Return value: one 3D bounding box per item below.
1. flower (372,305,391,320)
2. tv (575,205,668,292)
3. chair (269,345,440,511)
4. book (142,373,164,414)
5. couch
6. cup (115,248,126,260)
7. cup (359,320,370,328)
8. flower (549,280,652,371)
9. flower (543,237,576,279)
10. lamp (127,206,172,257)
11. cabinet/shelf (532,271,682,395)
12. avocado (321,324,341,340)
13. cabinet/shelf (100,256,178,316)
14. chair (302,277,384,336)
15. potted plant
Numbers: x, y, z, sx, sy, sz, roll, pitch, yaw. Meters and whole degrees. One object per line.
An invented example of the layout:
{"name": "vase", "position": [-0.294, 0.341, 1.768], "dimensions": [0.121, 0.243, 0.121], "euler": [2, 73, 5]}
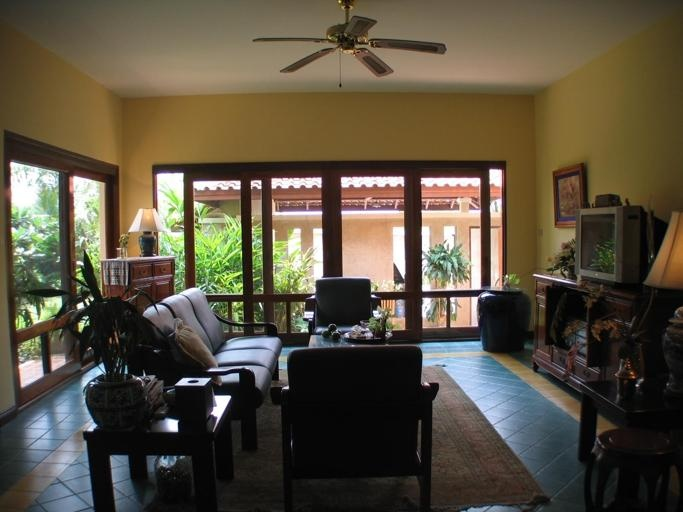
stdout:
{"name": "flower", "position": [0.448, 0.604, 5.512], "dimensions": [0.189, 0.133, 0.190], "euler": [0, 2, -21]}
{"name": "tv", "position": [2.647, -0.093, 5.107], "dimensions": [0.440, 0.705, 0.818], "euler": [0, 3, -8]}
{"name": "chair", "position": [0.126, 1.075, 3.887], "dimensions": [0.923, 1.032, 1.201], "euler": [-1, 3, 0]}
{"name": "book", "position": [-1.311, 0.963, 3.743], "dimensions": [0.172, 0.218, 0.083], "euler": [-3, -18, -40]}
{"name": "couch", "position": [-1.136, 0.966, 5.038], "dimensions": [1.015, 1.040, 2.181], "euler": [2, 2, -1]}
{"name": "cup", "position": [-2.729, -0.022, 6.600], "dimensions": [0.135, 0.137, 0.096], "euler": [-1, -4, 5]}
{"name": "cup", "position": [0.250, 0.730, 5.602], "dimensions": [0.093, 0.071, 0.089], "euler": [1, 3, 0]}
{"name": "flower", "position": [2.337, 0.621, 4.741], "dimensions": [0.339, 0.642, 0.997], "euler": [2, 0, 3]}
{"name": "flower", "position": [2.554, -0.020, 5.964], "dimensions": [0.440, 0.462, 0.454], "euler": [-2, 8, 6]}
{"name": "lamp", "position": [-2.331, -0.258, 6.813], "dimensions": [0.621, 0.784, 0.578], "euler": [0, -4, -9]}
{"name": "cabinet/shelf", "position": [2.357, 0.676, 4.658], "dimensions": [0.431, 0.778, 1.243], "euler": [1, 0, 2]}
{"name": "avocado", "position": [-0.096, 0.795, 5.449], "dimensions": [0.140, 0.144, 0.061], "euler": [6, -42, -4]}
{"name": "cabinet/shelf", "position": [-2.392, 0.399, 6.450], "dimensions": [0.355, 0.769, 0.773], "euler": [0, 4, 23]}
{"name": "chair", "position": [0.006, 0.550, 6.529], "dimensions": [0.731, 0.884, 0.671], "euler": [0, 0, 3]}
{"name": "potted plant", "position": [-2.236, 0.753, 4.611], "dimensions": [1.465, 1.525, 1.023], "euler": [2, 4, 28]}
